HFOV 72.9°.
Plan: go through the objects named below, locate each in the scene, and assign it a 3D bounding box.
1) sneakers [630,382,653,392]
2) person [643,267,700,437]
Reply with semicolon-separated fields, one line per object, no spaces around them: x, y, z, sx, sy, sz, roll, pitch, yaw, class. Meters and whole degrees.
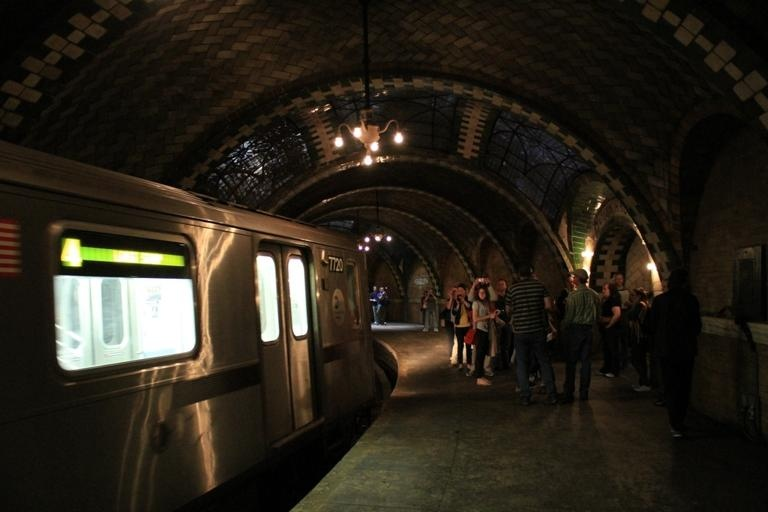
4.611;2.353;9.324;0.329;0.132;0.118;-1;2;-5;sneakers
3.717;1.229;6.619;0.573;1.584;0.368;-2;-1;21;person
